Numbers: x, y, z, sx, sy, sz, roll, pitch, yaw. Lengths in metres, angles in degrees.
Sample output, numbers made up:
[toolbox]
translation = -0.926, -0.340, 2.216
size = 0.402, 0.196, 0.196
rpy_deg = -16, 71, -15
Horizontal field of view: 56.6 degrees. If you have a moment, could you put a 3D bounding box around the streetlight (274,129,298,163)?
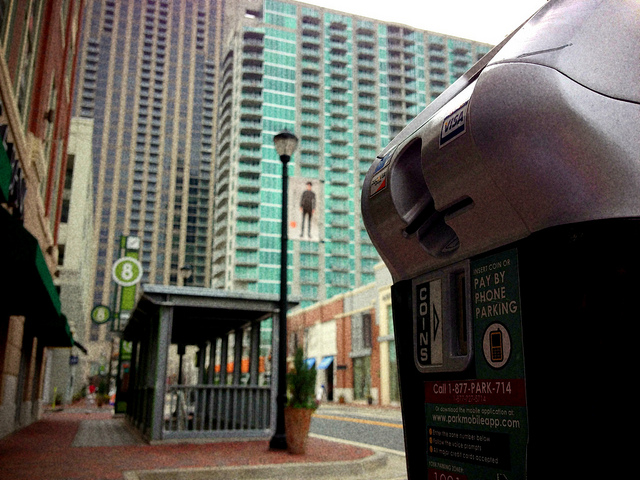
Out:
[streetlight]
translation = -0.642, -1.787, 11.368
size = 0.478, 0.744, 0.449
rpy_deg = 6, -4, -44
